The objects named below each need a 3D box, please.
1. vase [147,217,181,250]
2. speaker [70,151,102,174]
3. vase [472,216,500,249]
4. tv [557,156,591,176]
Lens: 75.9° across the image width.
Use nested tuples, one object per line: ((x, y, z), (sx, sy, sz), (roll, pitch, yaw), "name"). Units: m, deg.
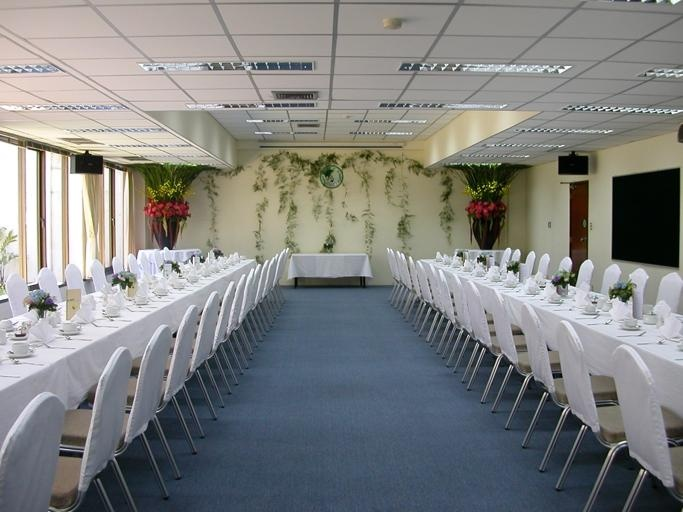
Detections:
((-4.175, -0.542, 10.337), (0.655, 0.839, 0.752), (1, -7, -11), "vase")
((-4.872, -1.766, 8.327), (0.390, 0.371, 0.486), (5, 7, 41), "speaker")
((3.659, -0.570, 11.071), (0.620, 0.800, 0.397), (3, 7, 28), "vase")
((4.960, -1.917, 9.408), (0.683, 0.550, 0.395), (1, 0, 3), "tv")
